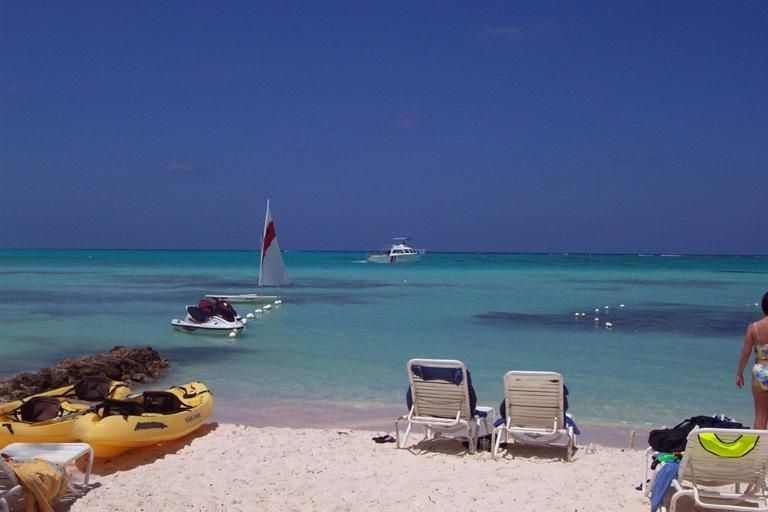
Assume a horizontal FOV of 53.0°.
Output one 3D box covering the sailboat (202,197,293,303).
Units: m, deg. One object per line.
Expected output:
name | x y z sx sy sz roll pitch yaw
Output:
sailboat | -8.362 -0.461 46.250 5.999 6.245 2.482 -2 8 -27

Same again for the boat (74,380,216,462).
boat | -4.890 3.355 16.182 1.562 0.848 3.048 8 10 36

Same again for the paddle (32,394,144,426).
paddle | -6.568 3.009 15.424 1.098 0.326 0.773 2 -2 -6

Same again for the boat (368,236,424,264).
boat | 2.001 -0.769 124.977 3.942 3.524 10.484 -3 -1 -35
